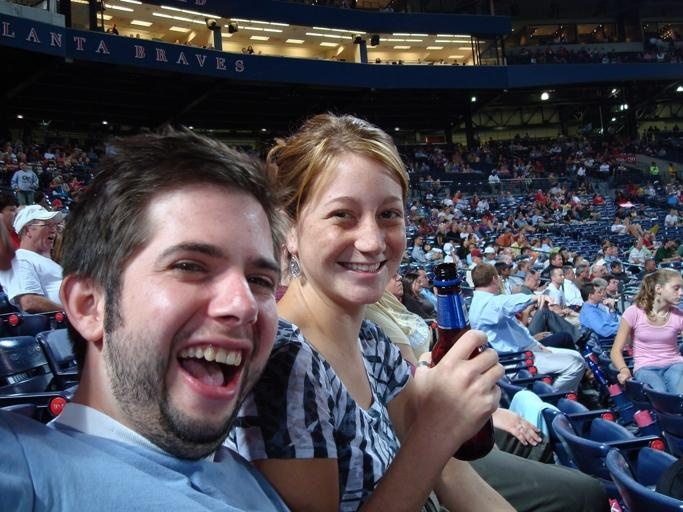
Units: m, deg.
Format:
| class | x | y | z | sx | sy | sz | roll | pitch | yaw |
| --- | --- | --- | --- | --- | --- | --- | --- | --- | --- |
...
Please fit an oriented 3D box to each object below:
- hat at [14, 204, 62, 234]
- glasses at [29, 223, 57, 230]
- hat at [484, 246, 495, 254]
| class | x | y | z | sx | sy | sz | roll | pitch | yaw |
| --- | --- | --- | --- | --- | --- | --- | --- | --- | --- |
| hat | -2.843 | -0.355 | 4.638 | 0.644 | 0.275 | 0.262 | 2 | 1 | 35 |
| glasses | -2.717 | -0.291 | 4.526 | 0.215 | 0.076 | 0.139 | 2 | 1 | -29 |
| hat | 3.729 | -0.178 | 12.484 | 0.150 | 0.179 | 0.186 | 10 | 21 | -27 |
